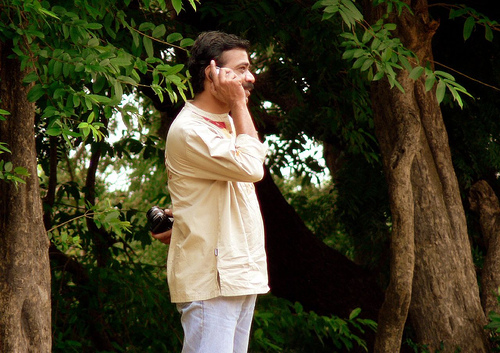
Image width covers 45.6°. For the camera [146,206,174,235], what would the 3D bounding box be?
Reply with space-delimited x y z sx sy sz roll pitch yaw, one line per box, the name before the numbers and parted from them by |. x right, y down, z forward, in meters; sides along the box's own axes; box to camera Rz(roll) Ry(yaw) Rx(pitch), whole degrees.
camera | -0.639 0.298 4.223 0.182 0.207 0.219 -1 -16 -11

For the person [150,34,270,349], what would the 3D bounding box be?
person | -0.238 0.064 4.083 0.675 2.149 0.490 -2 -14 -6

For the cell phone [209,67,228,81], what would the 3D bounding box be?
cell phone | -0.216 -0.706 4.095 0.078 0.087 0.025 9 19 10
